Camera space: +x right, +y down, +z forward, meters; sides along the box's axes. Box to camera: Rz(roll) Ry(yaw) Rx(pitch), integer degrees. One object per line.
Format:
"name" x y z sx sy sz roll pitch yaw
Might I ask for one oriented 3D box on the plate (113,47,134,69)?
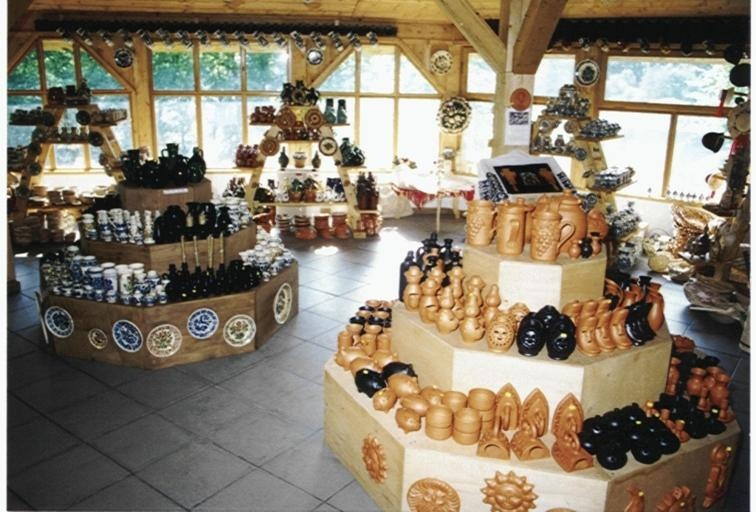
"plate" -4.614 -3.599 9.054 0.335 0.370 0.159 -1 14 -1

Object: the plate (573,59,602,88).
"plate" 3.438 -3.024 8.224 0.393 0.429 0.287 5 15 20

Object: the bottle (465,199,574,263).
"bottle" 0.967 -0.187 3.410 0.665 0.298 0.391 1 19 0

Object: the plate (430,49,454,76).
"plate" 1.228 -3.748 9.622 0.468 0.460 0.370 0 14 3

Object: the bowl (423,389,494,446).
"bowl" 0.517 1.001 3.148 0.426 0.317 0.164 2 14 12

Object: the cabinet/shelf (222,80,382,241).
"cabinet/shelf" -1.392 -1.675 8.679 3.293 2.809 1.211 4 33 1
